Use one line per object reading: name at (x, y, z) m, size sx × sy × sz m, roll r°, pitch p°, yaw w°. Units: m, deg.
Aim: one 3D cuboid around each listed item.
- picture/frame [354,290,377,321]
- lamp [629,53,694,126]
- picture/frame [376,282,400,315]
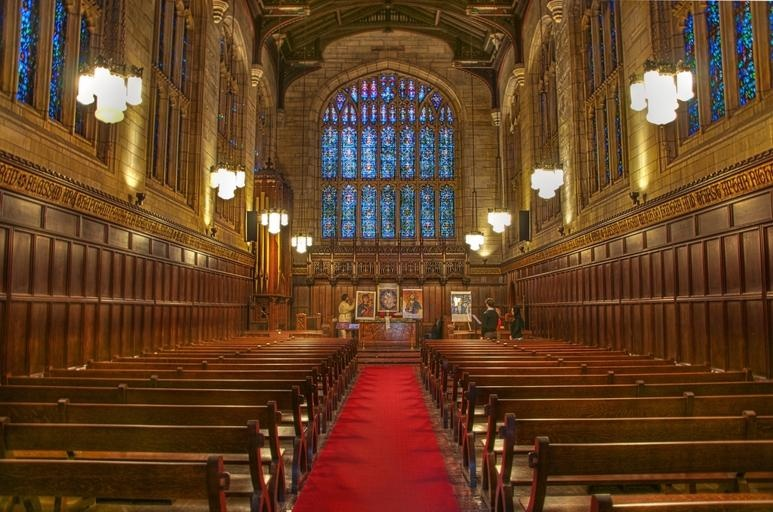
picture/frame at (-0.869, 2.094, 29.136) m, size 1.191 × 1.749 × 0.116 m, roll 2°, pitch -46°, yaw -3°
lamp at (5.129, -2.982, 12.934) m, size 0.929 × 1.219 × 1.081 m, roll 4°, pitch -5°, yaw 4°
picture/frame at (0.105, 1.794, 30.545) m, size 0.995 × 1.337 × 0.838 m, roll -3°, pitch -8°, yaw -1°
